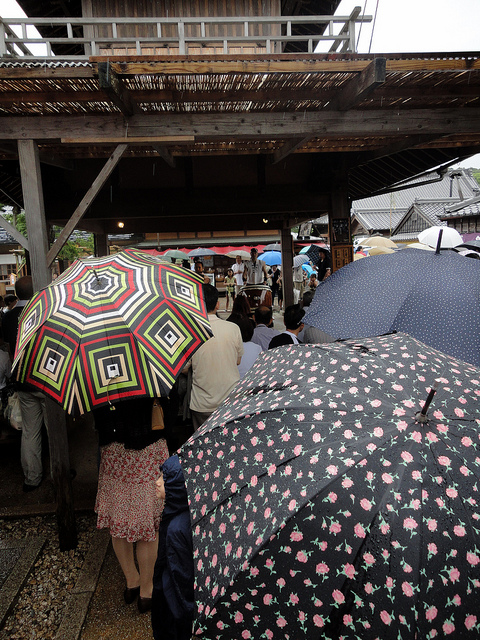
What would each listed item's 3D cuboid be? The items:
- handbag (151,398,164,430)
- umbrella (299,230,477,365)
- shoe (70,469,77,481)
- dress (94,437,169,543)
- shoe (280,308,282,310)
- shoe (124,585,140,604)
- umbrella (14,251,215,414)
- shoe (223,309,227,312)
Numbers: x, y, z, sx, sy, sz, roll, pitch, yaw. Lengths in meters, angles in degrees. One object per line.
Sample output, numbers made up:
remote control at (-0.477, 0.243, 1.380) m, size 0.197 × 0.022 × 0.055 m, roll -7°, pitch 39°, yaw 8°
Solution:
handbag at (-0.597, 0.678, 2.961) m, size 0.078 × 0.242 × 0.169 m, roll -2°, pitch 8°, yaw 2°
umbrella at (1.089, -0.165, 2.787) m, size 0.983 × 0.539 × 1.001 m, roll -6°, pitch 34°, yaw 6°
shoe at (-2.013, 1.847, 4.902) m, size 0.032 × 0.139 × 0.135 m, roll -1°, pitch -19°, yaw -46°
dress at (-0.793, 1.239, 3.087) m, size 0.532 × 0.704 × 0.455 m, roll 3°, pitch 6°, yaw 11°
shoe at (1.725, -0.447, 16.578) m, size 0.066 × 0.035 × 0.069 m, roll -5°, pitch 16°, yaw 5°
shoe at (-0.852, 2.130, 3.156) m, size 0.061 × 0.072 × 0.176 m, roll 2°, pitch 39°, yaw 14°
umbrella at (-0.820, 0.031, 2.619) m, size 1.249 × 0.823 × 0.965 m, roll -5°, pitch 8°, yaw -14°
shoe at (-0.671, -0.453, 18.917) m, size 0.112 × 0.063 × 0.116 m, roll -11°, pitch 8°, yaw -1°
